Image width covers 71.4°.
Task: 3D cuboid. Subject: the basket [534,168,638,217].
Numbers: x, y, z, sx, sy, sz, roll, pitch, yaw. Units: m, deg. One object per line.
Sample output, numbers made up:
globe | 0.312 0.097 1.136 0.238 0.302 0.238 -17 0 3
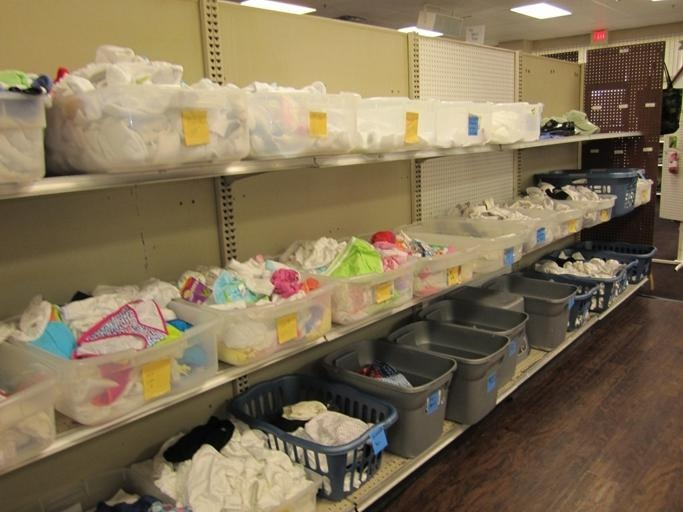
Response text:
basket | 2.257 -0.607 4.392 0.715 0.342 0.510 5 8 43

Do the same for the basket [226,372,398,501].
basket | -0.120 0.783 2.201 0.597 0.277 0.454 7 15 38

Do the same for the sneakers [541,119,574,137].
sneakers | 1.783 -1.054 3.953 0.218 0.122 0.277 -5 6 -37
